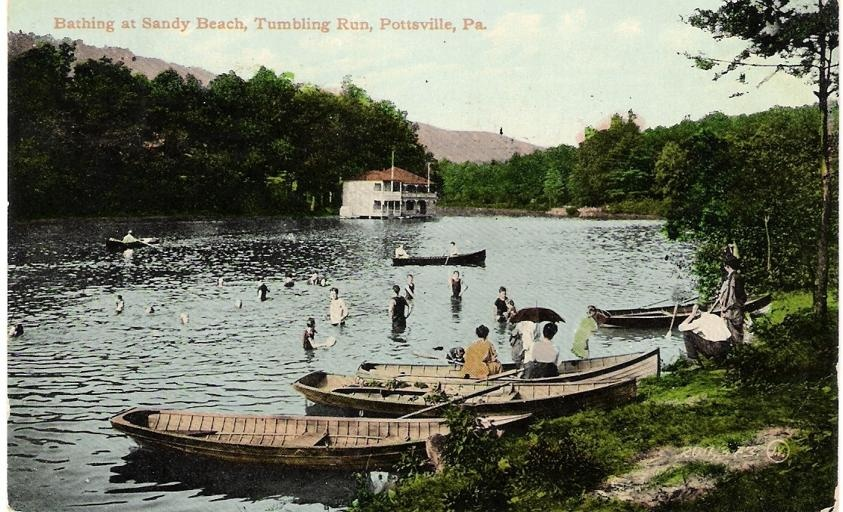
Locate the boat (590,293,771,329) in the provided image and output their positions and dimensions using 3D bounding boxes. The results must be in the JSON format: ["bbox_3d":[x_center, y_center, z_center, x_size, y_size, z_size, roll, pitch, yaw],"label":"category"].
[{"bbox_3d":[13.593,3.442,64.416,7.548,2.424,3.728,3,-2,-7],"label":"boat"}]

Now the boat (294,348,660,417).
[{"bbox_3d":[3.018,6.586,54.137,17.288,2.726,3.914,0,14,0],"label":"boat"}]
